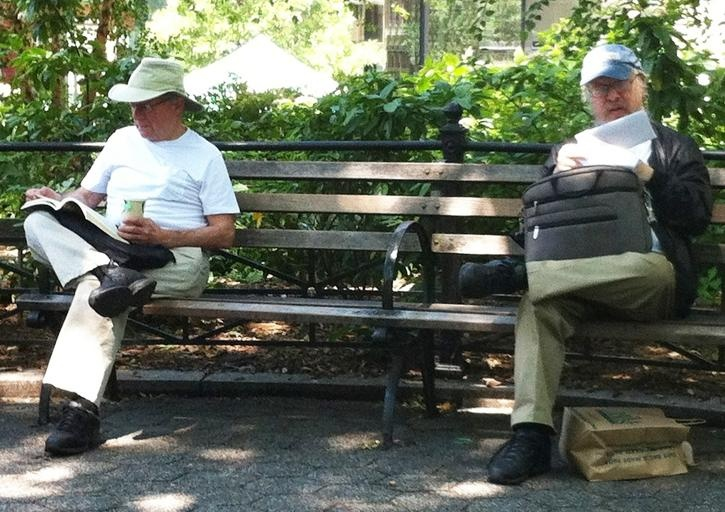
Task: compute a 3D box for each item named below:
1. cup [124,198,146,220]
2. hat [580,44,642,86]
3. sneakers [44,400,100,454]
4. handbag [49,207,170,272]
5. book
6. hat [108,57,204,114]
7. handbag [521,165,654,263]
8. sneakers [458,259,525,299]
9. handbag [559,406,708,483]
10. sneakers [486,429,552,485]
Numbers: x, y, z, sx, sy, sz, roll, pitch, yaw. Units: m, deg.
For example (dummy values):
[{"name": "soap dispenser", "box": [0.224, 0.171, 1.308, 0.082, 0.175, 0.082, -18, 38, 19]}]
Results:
[{"name": "cup", "box": [-1.303, -0.264, 4.486, 0.130, 0.105, 0.113, 2, -1, 4]}, {"name": "hat", "box": [1.366, -1.095, 4.428, 0.327, 0.171, 0.400, 4, 24, 24]}, {"name": "sneakers", "box": [-1.485, 0.881, 4.147, 0.167, 0.159, 0.382, 6, 2, 7]}, {"name": "handbag", "box": [-1.370, -0.086, 4.515, 0.836, 0.282, 0.244, 13, 20, -14]}, {"name": "book", "box": [-1.625, -0.200, 4.455, 0.557, 0.261, 0.263, -2, 5, -19]}, {"name": "hat", "box": [-1.245, -1.044, 4.776, 0.458, 0.248, 0.570, 21, 22, 31]}, {"name": "handbag", "box": [1.255, -0.202, 4.163, 0.571, 0.449, 0.778, 1, -6, -41]}, {"name": "sneakers", "box": [0.684, 0.104, 4.165, 0.306, 0.101, 0.211, -6, 26, 9]}, {"name": "handbag", "box": [1.512, 0.933, 3.913, 0.543, 0.209, 0.451, -17, -14, 42]}, {"name": "sneakers", "box": [0.750, 0.935, 3.834, 0.305, 0.258, 0.124, -4, 6, -30]}]
